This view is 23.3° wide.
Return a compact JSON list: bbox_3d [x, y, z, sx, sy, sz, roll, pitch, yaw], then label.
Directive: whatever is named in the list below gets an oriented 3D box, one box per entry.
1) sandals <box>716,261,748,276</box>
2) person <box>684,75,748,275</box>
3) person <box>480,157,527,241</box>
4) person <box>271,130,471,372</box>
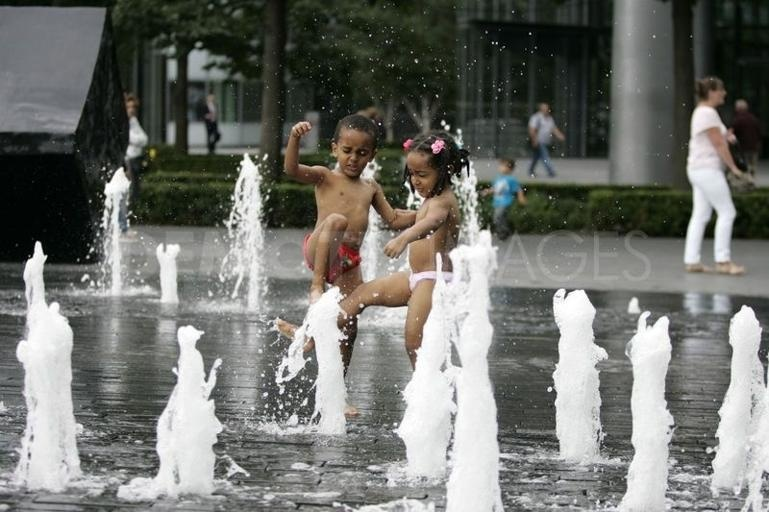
[{"bbox_3d":[4.005,0.134,21.353,0.327,0.259,0.139,0,7,6],"label":"sandals"},{"bbox_3d":[3.745,-0.911,21.015,0.607,2.245,0.661,0,1,-43],"label":"person"},{"bbox_3d":[1.557,-0.743,23.995,0.546,1.047,2.015,-1,3,5],"label":"person"},{"bbox_3d":[0.294,-0.070,16.309,1.114,2.038,0.792,-2,3,-20],"label":"person"}]
